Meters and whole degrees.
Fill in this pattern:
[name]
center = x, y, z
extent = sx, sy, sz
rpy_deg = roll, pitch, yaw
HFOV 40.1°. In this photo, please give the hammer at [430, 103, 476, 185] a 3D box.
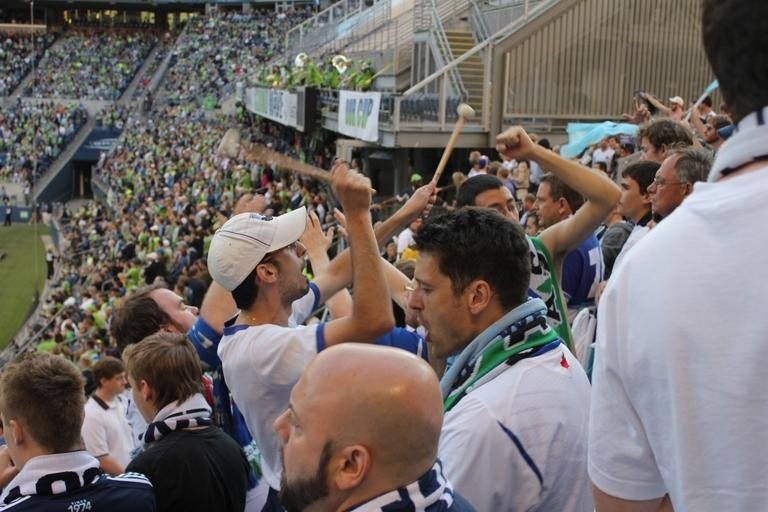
[hammer]
center = 0.546, -0.886, 8.367
extent = 0.151, 0.704, 0.153
rpy_deg = 40, -34, -23
